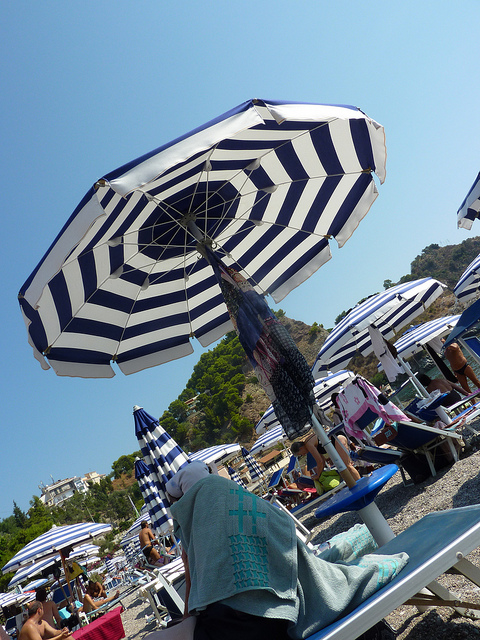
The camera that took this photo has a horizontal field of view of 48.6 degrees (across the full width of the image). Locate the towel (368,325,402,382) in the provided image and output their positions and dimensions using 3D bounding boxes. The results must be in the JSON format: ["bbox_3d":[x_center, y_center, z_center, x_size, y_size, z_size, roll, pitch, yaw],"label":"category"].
[{"bbox_3d":[1.954,0.392,7.257,0.214,0.749,0.227,-9,-29,-34],"label":"towel"}]

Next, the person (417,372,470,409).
[{"bbox_3d":[3.060,1.013,8.160,0.413,0.568,1.213,-41,-20,13],"label":"person"}]

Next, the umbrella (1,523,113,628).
[{"bbox_3d":[-3.139,4.540,9.863,1.686,1.624,2.521,-28,-21,-21],"label":"umbrella"}]

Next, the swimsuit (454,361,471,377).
[{"bbox_3d":[3.770,0.834,9.026,0.227,0.069,0.230,-35,19,41],"label":"swimsuit"}]

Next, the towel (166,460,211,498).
[{"bbox_3d":[-0.238,0.807,2.619,0.197,0.179,0.074,-32,-49,2],"label":"towel"}]

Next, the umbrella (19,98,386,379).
[{"bbox_3d":[-0.648,-1.117,4.765,2.379,0.822,2.262,-8,-40,-51],"label":"umbrella"}]

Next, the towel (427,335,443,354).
[{"bbox_3d":[3.966,0.498,10.868,0.234,0.251,0.293,-40,-10,-35],"label":"towel"}]

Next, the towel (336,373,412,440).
[{"bbox_3d":[1.286,0.926,5.373,0.723,0.612,0.276,-31,5,-27],"label":"towel"}]

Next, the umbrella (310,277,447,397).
[{"bbox_3d":[3.536,-0.159,12.757,2.457,1.656,2.313,-40,-30,-31],"label":"umbrella"}]

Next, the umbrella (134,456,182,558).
[{"bbox_3d":[-0.945,2.278,6.400,0.401,1.261,0.335,-27,-19,0],"label":"umbrella"}]

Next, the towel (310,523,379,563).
[{"bbox_3d":[0.572,1.188,2.897,0.266,0.079,0.260,-23,-2,-4],"label":"towel"}]

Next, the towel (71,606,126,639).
[{"bbox_3d":[-1.517,3.395,5.857,0.420,0.098,0.407,-8,-19,-36],"label":"towel"}]

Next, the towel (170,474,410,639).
[{"bbox_3d":[0.199,0.961,2.282,0.751,0.302,0.553,-9,-14,-14],"label":"towel"}]
